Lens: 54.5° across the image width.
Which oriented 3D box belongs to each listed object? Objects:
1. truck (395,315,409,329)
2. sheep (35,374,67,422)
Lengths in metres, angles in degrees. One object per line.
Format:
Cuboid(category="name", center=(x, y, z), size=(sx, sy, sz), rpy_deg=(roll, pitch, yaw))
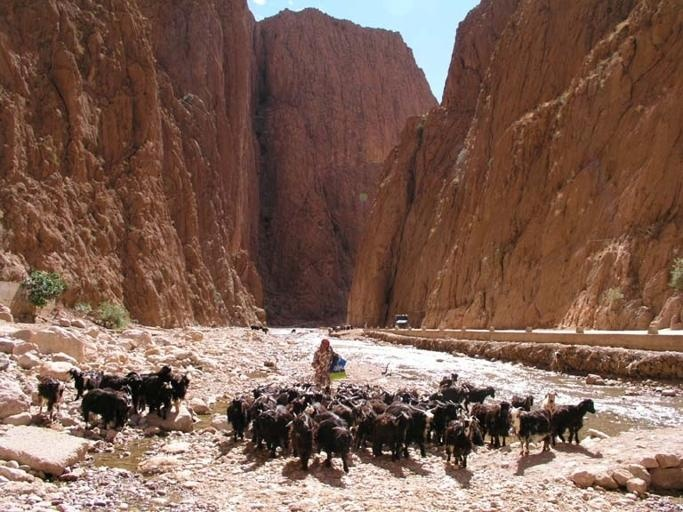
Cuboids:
Cuboid(category="truck", center=(4.510, 5.017, 49.574), size=(0.995, 0.804, 1.497), rpy_deg=(0, -1, 1))
Cuboid(category="sheep", center=(-7.117, 3.450, 16.102), size=(0.655, 1.004, 0.479), rpy_deg=(3, 9, 13))
